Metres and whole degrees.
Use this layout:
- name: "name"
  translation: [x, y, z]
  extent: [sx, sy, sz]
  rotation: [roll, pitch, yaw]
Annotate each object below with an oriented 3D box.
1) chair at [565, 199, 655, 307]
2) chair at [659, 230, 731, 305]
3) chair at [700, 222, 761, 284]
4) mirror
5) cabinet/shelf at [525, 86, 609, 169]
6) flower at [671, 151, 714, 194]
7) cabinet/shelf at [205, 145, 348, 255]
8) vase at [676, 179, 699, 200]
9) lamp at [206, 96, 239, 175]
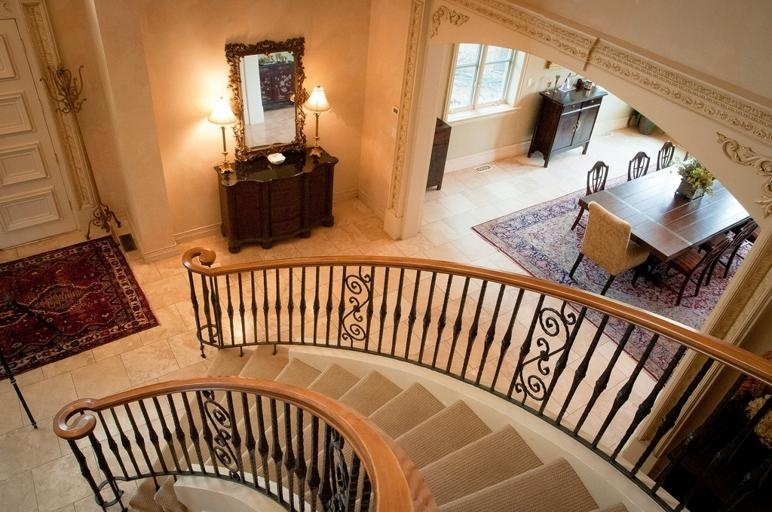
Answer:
- name: "chair"
  translation: [3.030, -0.007, 6.622]
  extent: [0.853, 1.302, 0.760]
  rotation: [-26, 51, -19]
- name: "chair"
  translation: [4.183, 0.170, 6.792]
  extent: [0.486, 0.832, 0.548]
  rotation: [-38, 59, -15]
- name: "chair"
  translation: [4.260, -0.036, 6.254]
  extent: [0.428, 0.721, 0.435]
  rotation: [-33, 60, -10]
- name: "mirror"
  translation: [-1.698, -2.196, 6.928]
  extent: [1.580, 1.913, 0.124]
  rotation: [-15, 40, -25]
- name: "cabinet/shelf"
  translation: [3.416, -2.470, 9.502]
  extent: [1.326, 1.187, 0.558]
  rotation: [-21, 44, -31]
- name: "flower"
  translation: [4.312, -1.077, 6.993]
  extent: [0.466, 0.472, 0.524]
  rotation: [19, 34, 26]
- name: "cabinet/shelf"
  translation: [-1.682, -0.792, 7.260]
  extent: [1.467, 0.962, 0.695]
  rotation: [-20, 49, -24]
- name: "vase"
  translation: [4.283, -0.921, 7.084]
  extent: [0.167, 0.193, 0.203]
  rotation: [-26, 49, -22]
- name: "lamp"
  translation: [-2.185, -1.618, 6.761]
  extent: [0.380, 1.008, 0.541]
  rotation: [-7, 32, -14]
